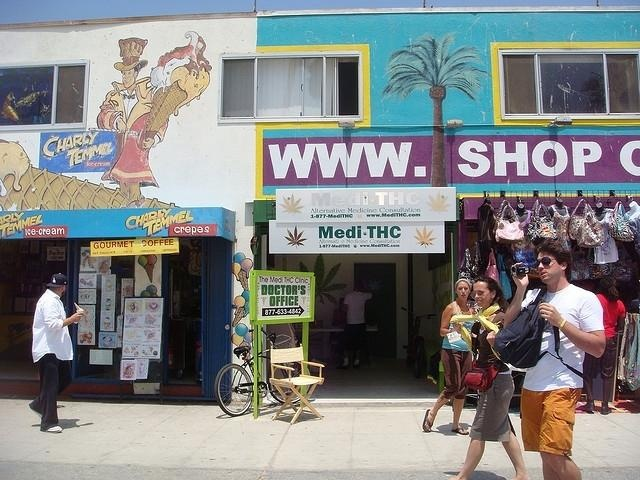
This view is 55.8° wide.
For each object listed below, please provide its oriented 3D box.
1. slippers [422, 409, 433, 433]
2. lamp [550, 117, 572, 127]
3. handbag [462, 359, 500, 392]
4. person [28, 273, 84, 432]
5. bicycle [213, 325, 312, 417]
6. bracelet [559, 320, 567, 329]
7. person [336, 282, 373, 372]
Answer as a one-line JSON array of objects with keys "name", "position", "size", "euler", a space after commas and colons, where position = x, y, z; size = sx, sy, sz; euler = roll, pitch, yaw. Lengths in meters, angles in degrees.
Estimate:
[{"name": "slippers", "position": [1.675, 2.868, 9.459], "size": [0.128, 0.360, 0.090], "euler": [2, 10, 3]}, {"name": "lamp", "position": [4.632, -2.296, 11.654], "size": [0.404, 0.182, 0.220], "euler": [1, 3, 19]}, {"name": "handbag", "position": [1.954, 1.698, 7.371], "size": [0.394, 0.389, 0.244], "euler": [0, 3, 16]}, {"name": "person", "position": [-4.234, 1.797, 9.883], "size": [1.120, 2.314, 0.785], "euler": [3, -4, -44]}, {"name": "bicycle", "position": [-0.961, 2.475, 10.828], "size": [1.805, 1.208, 0.943], "euler": [0, -5, -37]}, {"name": "bracelet", "position": [2.552, 0.898, 6.367], "size": [0.073, 0.107, 0.100], "euler": [1, 3, 23]}, {"name": "person", "position": [0.893, 2.185, 15.050], "size": [0.668, 1.859, 0.833], "euler": [4, 1, 14]}]
